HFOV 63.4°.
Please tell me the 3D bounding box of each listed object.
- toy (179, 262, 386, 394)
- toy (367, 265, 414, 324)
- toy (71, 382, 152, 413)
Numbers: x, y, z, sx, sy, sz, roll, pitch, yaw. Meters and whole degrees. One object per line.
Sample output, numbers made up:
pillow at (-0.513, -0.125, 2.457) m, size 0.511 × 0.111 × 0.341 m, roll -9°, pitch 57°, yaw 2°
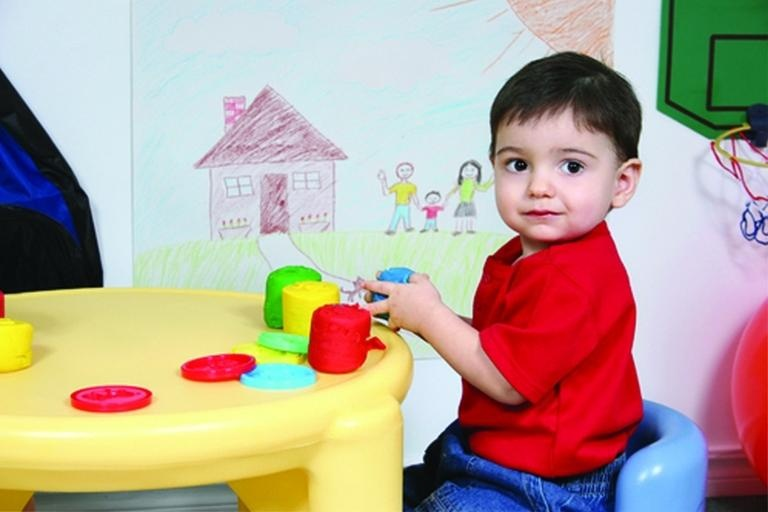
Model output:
toy at (-0.130, 0.089, 0.853) m, size 0.134 × 0.066 × 0.184 m, roll 6°, pitch 10°, yaw 30°
toy at (0.013, 0.060, 1.090) m, size 0.066 × 0.081 × 0.030 m, roll -27°, pitch 51°, yaw 0°
toy at (-0.346, 0.180, 0.788) m, size 0.097 × 0.017 × 0.060 m, roll -4°, pitch 10°, yaw -14°
